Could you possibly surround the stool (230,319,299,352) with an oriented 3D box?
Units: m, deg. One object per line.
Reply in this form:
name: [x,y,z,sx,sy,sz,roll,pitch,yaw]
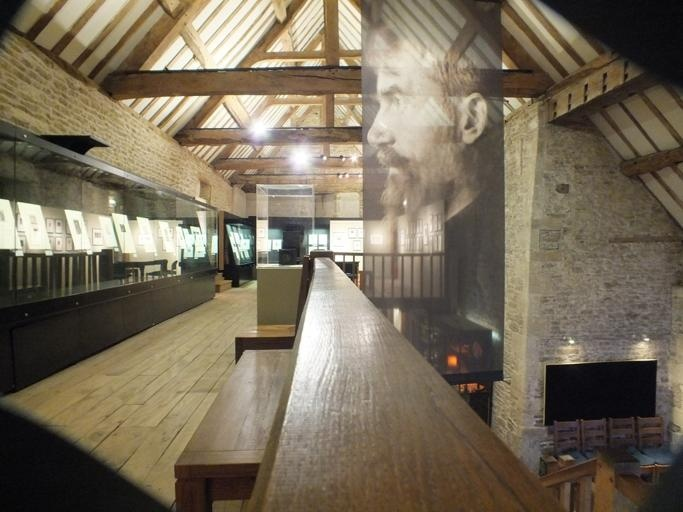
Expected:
stool: [-0.890,0.966,6.148,0.680,0.276,0.522,1,-4,-8]
